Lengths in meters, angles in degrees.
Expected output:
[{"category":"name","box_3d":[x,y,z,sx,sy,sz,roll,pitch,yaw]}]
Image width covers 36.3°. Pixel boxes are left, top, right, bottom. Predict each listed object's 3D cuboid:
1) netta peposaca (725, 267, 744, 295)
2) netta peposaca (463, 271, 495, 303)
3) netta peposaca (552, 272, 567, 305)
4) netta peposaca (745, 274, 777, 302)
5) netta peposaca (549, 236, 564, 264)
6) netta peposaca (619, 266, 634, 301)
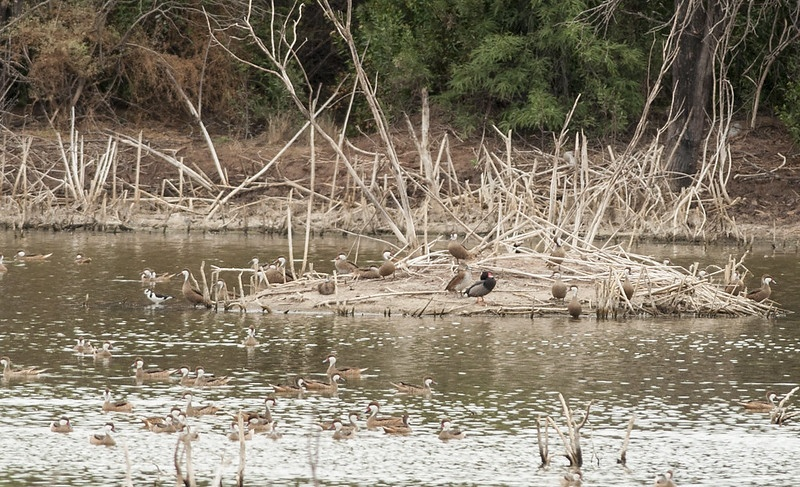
[{"category":"netta peposaca","box_3d":[7.242,0.848,26.638,0.225,0.607,0.382,8,-33,36]},{"category":"netta peposaca","box_3d":[1.624,0.915,25.813,0.811,0.546,0.452,-8,-10,23]},{"category":"netta peposaca","box_3d":[3.359,0.964,25.859,0.348,0.537,0.451,-1,4,6]},{"category":"netta peposaca","box_3d":[7.661,0.970,26.151,0.491,0.546,0.793,0,4,12]},{"category":"netta peposaca","box_3d":[3.462,0.178,27.026,0.348,0.528,0.737,0,4,8]},{"category":"netta peposaca","box_3d":[4.741,0.887,25.716,0.375,0.575,0.846,-6,24,8]}]
